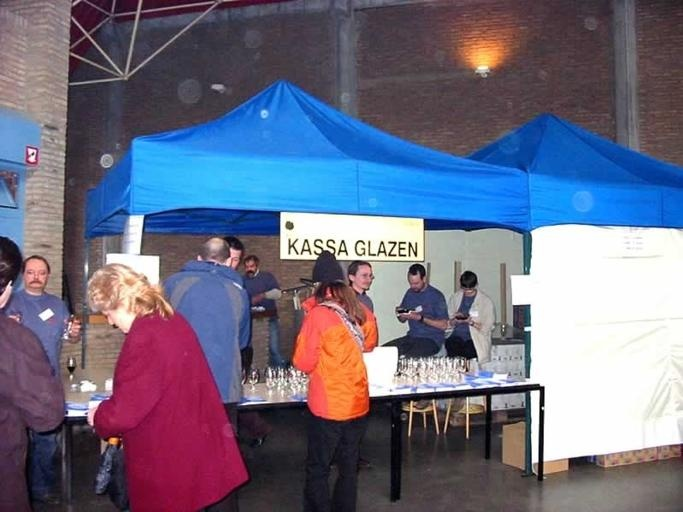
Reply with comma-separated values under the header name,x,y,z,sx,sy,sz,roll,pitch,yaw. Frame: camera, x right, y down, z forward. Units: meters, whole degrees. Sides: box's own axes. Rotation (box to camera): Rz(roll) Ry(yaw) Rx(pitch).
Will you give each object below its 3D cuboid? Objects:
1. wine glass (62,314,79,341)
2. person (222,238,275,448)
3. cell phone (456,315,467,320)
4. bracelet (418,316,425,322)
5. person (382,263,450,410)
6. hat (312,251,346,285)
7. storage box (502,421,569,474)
name,x,y,z,sx,sy,sz,roll,pitch,yaw
wine glass,-2.670,0.711,8.389,0.074,0.228,0.158,6,5,-35
person,-1.046,0.804,9.349,0.482,1.783,0.450,-11,-21,-9
cell phone,1.404,0.708,9.822,0.138,0.050,0.050,-2,6,-23
bracelet,0.973,0.753,10.227,0.021,0.066,0.065,-26,22,22
person,1.057,0.705,10.520,0.990,1.847,0.813,3,-4,-41
hat,-0.114,0.129,8.107,0.317,0.336,0.252,1,1,-5
storage box,2.089,2.082,9.536,0.488,0.524,0.684,-1,-7,-26
